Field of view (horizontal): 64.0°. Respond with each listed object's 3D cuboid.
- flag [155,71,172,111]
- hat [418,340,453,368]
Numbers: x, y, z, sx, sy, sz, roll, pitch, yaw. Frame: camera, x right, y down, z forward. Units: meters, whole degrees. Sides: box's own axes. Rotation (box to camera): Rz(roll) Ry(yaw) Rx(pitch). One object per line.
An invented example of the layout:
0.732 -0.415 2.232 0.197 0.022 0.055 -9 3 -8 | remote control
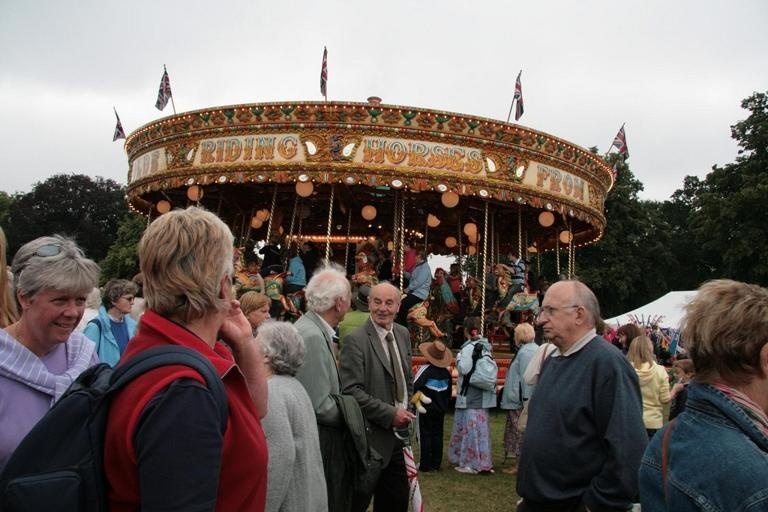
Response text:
-4.939 -3.692 13.805 0.256 1.135 1.329 3 -8 -21 | flag
0.739 1.388 8.466 0.404 0.401 0.145 30 -52 -4 | hat
